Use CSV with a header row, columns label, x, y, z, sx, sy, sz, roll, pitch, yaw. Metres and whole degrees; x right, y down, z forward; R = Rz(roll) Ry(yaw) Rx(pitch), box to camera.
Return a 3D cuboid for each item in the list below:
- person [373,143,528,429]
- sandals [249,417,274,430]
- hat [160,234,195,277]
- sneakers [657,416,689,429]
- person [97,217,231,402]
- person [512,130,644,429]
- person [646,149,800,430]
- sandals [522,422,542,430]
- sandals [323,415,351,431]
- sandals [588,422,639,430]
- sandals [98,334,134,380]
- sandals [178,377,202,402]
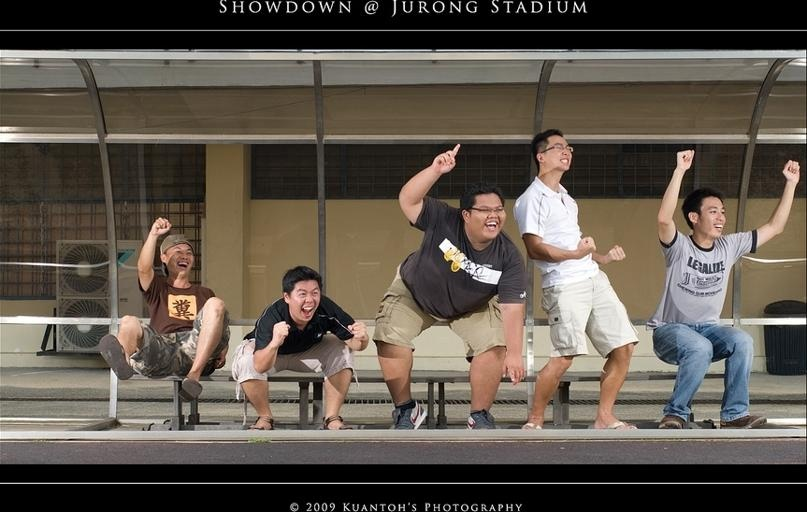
label,x,y,z,sx,sy,sz,roll,pitch,yaw
person,0.403,0.349,9.967,1.264,2.205,0.672,2,2,3
sandals,-1.200,1.410,9.994,0.199,0.101,0.256,1,2,-9
hat,-2.081,-0.017,10.837,0.316,0.359,0.182,2,34,-25
sneakers,2.277,1.400,9.926,0.320,0.112,0.099,-1,6,-19
person,-2.057,0.443,10.409,1.050,1.516,1.290,2,2,-8
person,1.462,0.187,10.084,1.077,2.533,0.589,2,2,10
person,2.780,0.288,10.273,1.201,2.324,1.041,2,2,10
sandals,1.096,1.440,9.966,0.143,0.045,0.068,13,12,-6
sandals,-0.585,1.409,9.930,0.317,0.098,0.108,-1,-3,20
sandals,1.770,1.441,9.965,0.352,0.044,0.145,-5,-6,23
sandals,-2.385,0.833,9.875,0.209,0.415,0.172,-31,2,-3
sandals,-1.791,1.125,9.903,0.168,0.072,0.233,27,-10,-15
